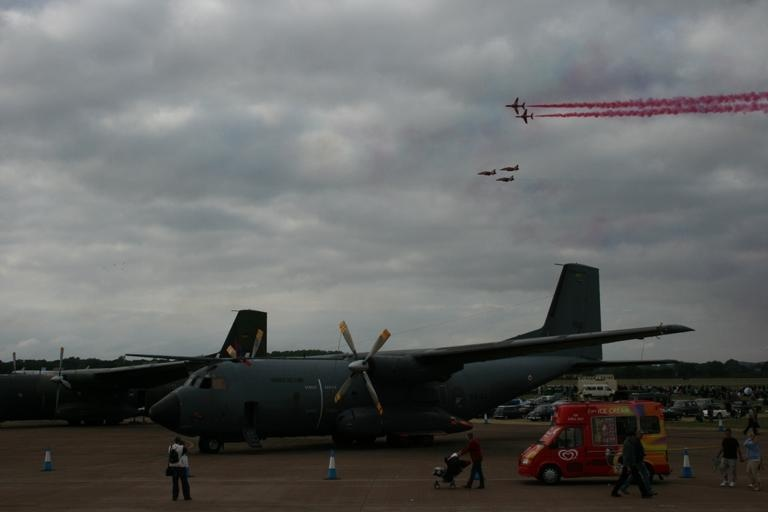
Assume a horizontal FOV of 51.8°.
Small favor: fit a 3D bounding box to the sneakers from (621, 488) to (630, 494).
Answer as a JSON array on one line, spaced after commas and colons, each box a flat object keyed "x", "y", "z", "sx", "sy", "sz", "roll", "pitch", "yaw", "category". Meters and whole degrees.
[{"x": 8.199, "y": 8.059, "z": 26.966, "sx": 0.155, "sy": 0.259, "sz": 0.440, "roll": -1, "pitch": -4, "yaw": 43, "category": "sneakers"}]

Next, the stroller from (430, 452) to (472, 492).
[{"x": 2.318, "y": 7.873, "z": 29.006, "sx": 1.750, "sy": 1.375, "sz": 1.153, "roll": 3, "pitch": -9, "yaw": -1, "category": "stroller"}]

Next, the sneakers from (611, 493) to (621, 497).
[{"x": 7.897, "y": 8.180, "z": 26.874, "sx": 0.331, "sy": 0.096, "sz": 0.190, "roll": 10, "pitch": -50, "yaw": -16, "category": "sneakers"}]

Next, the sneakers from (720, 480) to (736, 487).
[{"x": 12.229, "y": 8.156, "z": 28.221, "sx": 0.664, "sy": 0.242, "sz": 0.217, "roll": 13, "pitch": -20, "yaw": -37, "category": "sneakers"}]

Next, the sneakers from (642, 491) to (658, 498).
[{"x": 8.996, "y": 8.126, "z": 26.808, "sx": 0.638, "sy": 0.229, "sz": 0.191, "roll": -4, "pitch": 1, "yaw": -19, "category": "sneakers"}]

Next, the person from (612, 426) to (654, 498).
[{"x": 8.387, "y": 7.127, "z": 26.879, "sx": 1.211, "sy": 2.121, "sz": 0.593, "roll": -2, "pitch": -11, "yaw": 14, "category": "person"}]

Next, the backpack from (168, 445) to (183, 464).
[{"x": -6.904, "y": 6.639, "z": 26.310, "sx": 0.476, "sy": 0.769, "sz": 0.500, "roll": 2, "pitch": -10, "yaw": -11, "category": "backpack"}]

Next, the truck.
[{"x": 8.609, "y": 7.093, "z": 29.606, "sx": 2.395, "sy": 2.783, "sz": 6.281, "roll": 18, "pitch": -24, "yaw": -40, "category": "truck"}]
